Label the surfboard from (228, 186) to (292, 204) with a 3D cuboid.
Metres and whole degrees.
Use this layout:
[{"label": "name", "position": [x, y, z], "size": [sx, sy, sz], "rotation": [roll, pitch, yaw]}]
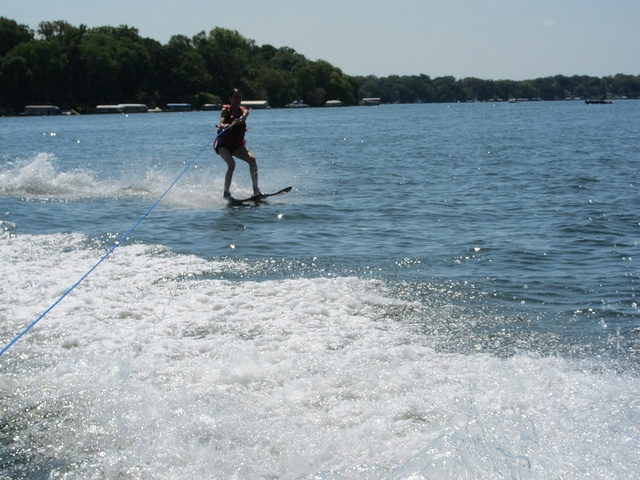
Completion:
[{"label": "surfboard", "position": [-1.087, -0.785, 12.625], "size": [1.214, 0.123, 0.134], "rotation": [-17, 31, -40]}]
